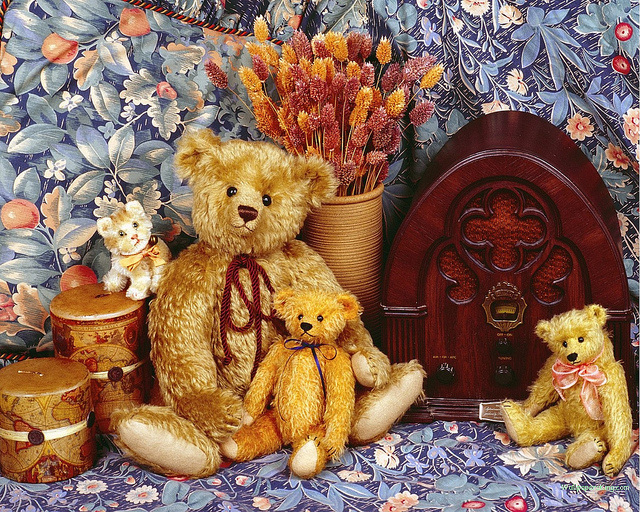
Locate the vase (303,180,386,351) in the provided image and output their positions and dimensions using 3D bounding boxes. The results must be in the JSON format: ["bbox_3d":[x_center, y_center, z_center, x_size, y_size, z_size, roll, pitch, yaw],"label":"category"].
[{"bbox_3d":[0.057,0.022,1.737,0.202,0.436,0.243,-6,27,-12],"label":"vase"}]

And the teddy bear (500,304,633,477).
[{"bbox_3d":[0.575,0.300,1.536,0.358,0.361,0.375,6,22,19],"label":"teddy bear"}]

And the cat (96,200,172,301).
[{"bbox_3d":[-0.474,-0.022,1.611,0.178,0.226,0.204,5,14,17],"label":"cat"}]

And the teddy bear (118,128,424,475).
[{"bbox_3d":[-0.166,0.105,1.553,0.880,0.764,0.533,-6,21,-39],"label":"teddy bear"}]

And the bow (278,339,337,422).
[{"bbox_3d":[-0.028,0.300,1.450,0.142,0.182,0.061,3,-9,0],"label":"bow"}]

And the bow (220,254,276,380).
[{"bbox_3d":[-0.184,0.171,1.550,0.182,0.327,0.035,-9,17,-26],"label":"bow"}]

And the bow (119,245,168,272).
[{"bbox_3d":[-0.454,0.002,1.560,0.106,0.064,0.037,-12,27,-33],"label":"bow"}]

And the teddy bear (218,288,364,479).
[{"bbox_3d":[-0.049,0.288,1.473,0.323,0.378,0.302,3,12,29],"label":"teddy bear"}]
